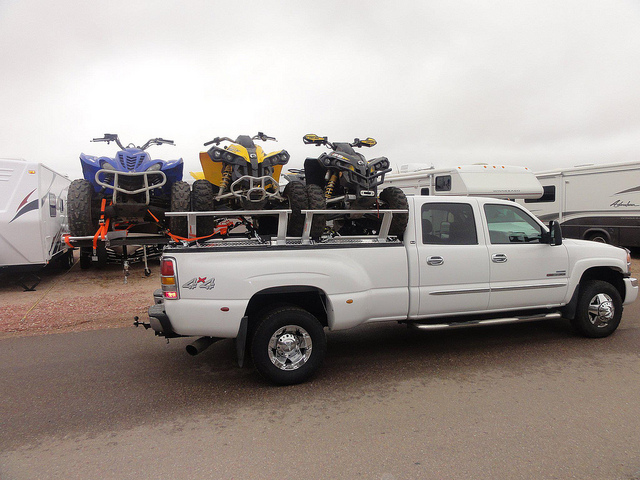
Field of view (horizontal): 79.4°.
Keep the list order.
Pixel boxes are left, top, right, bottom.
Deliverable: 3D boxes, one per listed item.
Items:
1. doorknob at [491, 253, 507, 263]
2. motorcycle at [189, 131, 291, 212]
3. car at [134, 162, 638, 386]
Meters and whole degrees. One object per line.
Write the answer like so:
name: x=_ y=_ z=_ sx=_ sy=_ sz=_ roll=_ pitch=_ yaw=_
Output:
doorknob: x=2.458 y=0.256 z=5.285 sx=0.182 sy=0.066 sz=0.129 roll=1 pitch=2 yaw=33
motorcycle: x=-1.232 y=-1.257 z=6.500 sx=1.713 sy=1.467 sz=2.640 roll=0 pitch=1 yaw=-14
car: x=1.757 y=0.411 z=6.464 sx=8.323 sy=2.693 sz=3.125 roll=-3 pitch=5 yaw=-18
